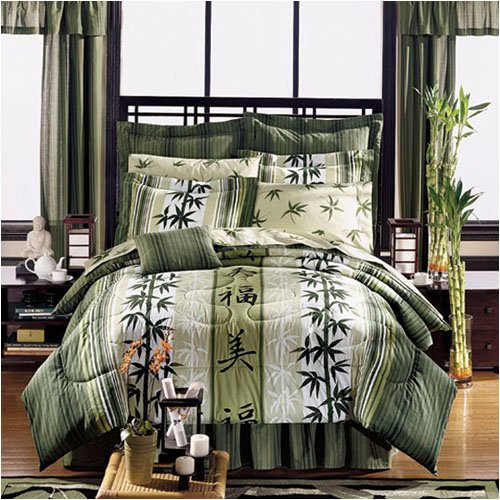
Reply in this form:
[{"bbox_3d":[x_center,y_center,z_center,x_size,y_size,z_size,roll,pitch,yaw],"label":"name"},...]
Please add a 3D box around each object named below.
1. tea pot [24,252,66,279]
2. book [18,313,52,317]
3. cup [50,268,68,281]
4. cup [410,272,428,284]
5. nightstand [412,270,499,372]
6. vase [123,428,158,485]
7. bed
[{"bbox_3d":[-1.198,0.106,4.052,0.223,0.207,0.165,-3,2,2],"label":"tea pot"},{"bbox_3d":[-1.193,0.361,3.872,0.082,0.025,0.087,1,-2,-6],"label":"book"},{"bbox_3d":[-1.099,0.135,3.975,0.073,0.068,0.063,0,4,-1],"label":"cup"},{"bbox_3d":[0.984,0.153,3.999,0.067,0.059,0.061,-8,10,-11],"label":"cup"},{"bbox_3d":[1.166,0.393,4.104,0.541,0.687,0.421,-1,2,2],"label":"nightstand"},{"bbox_3d":[-0.338,0.631,2.125,0.112,0.192,0.123,1,-5,-2],"label":"vase"},{"bbox_3d":[0.028,0.238,3.562,1.328,1.169,1.860,1,17,2],"label":"bed"}]
